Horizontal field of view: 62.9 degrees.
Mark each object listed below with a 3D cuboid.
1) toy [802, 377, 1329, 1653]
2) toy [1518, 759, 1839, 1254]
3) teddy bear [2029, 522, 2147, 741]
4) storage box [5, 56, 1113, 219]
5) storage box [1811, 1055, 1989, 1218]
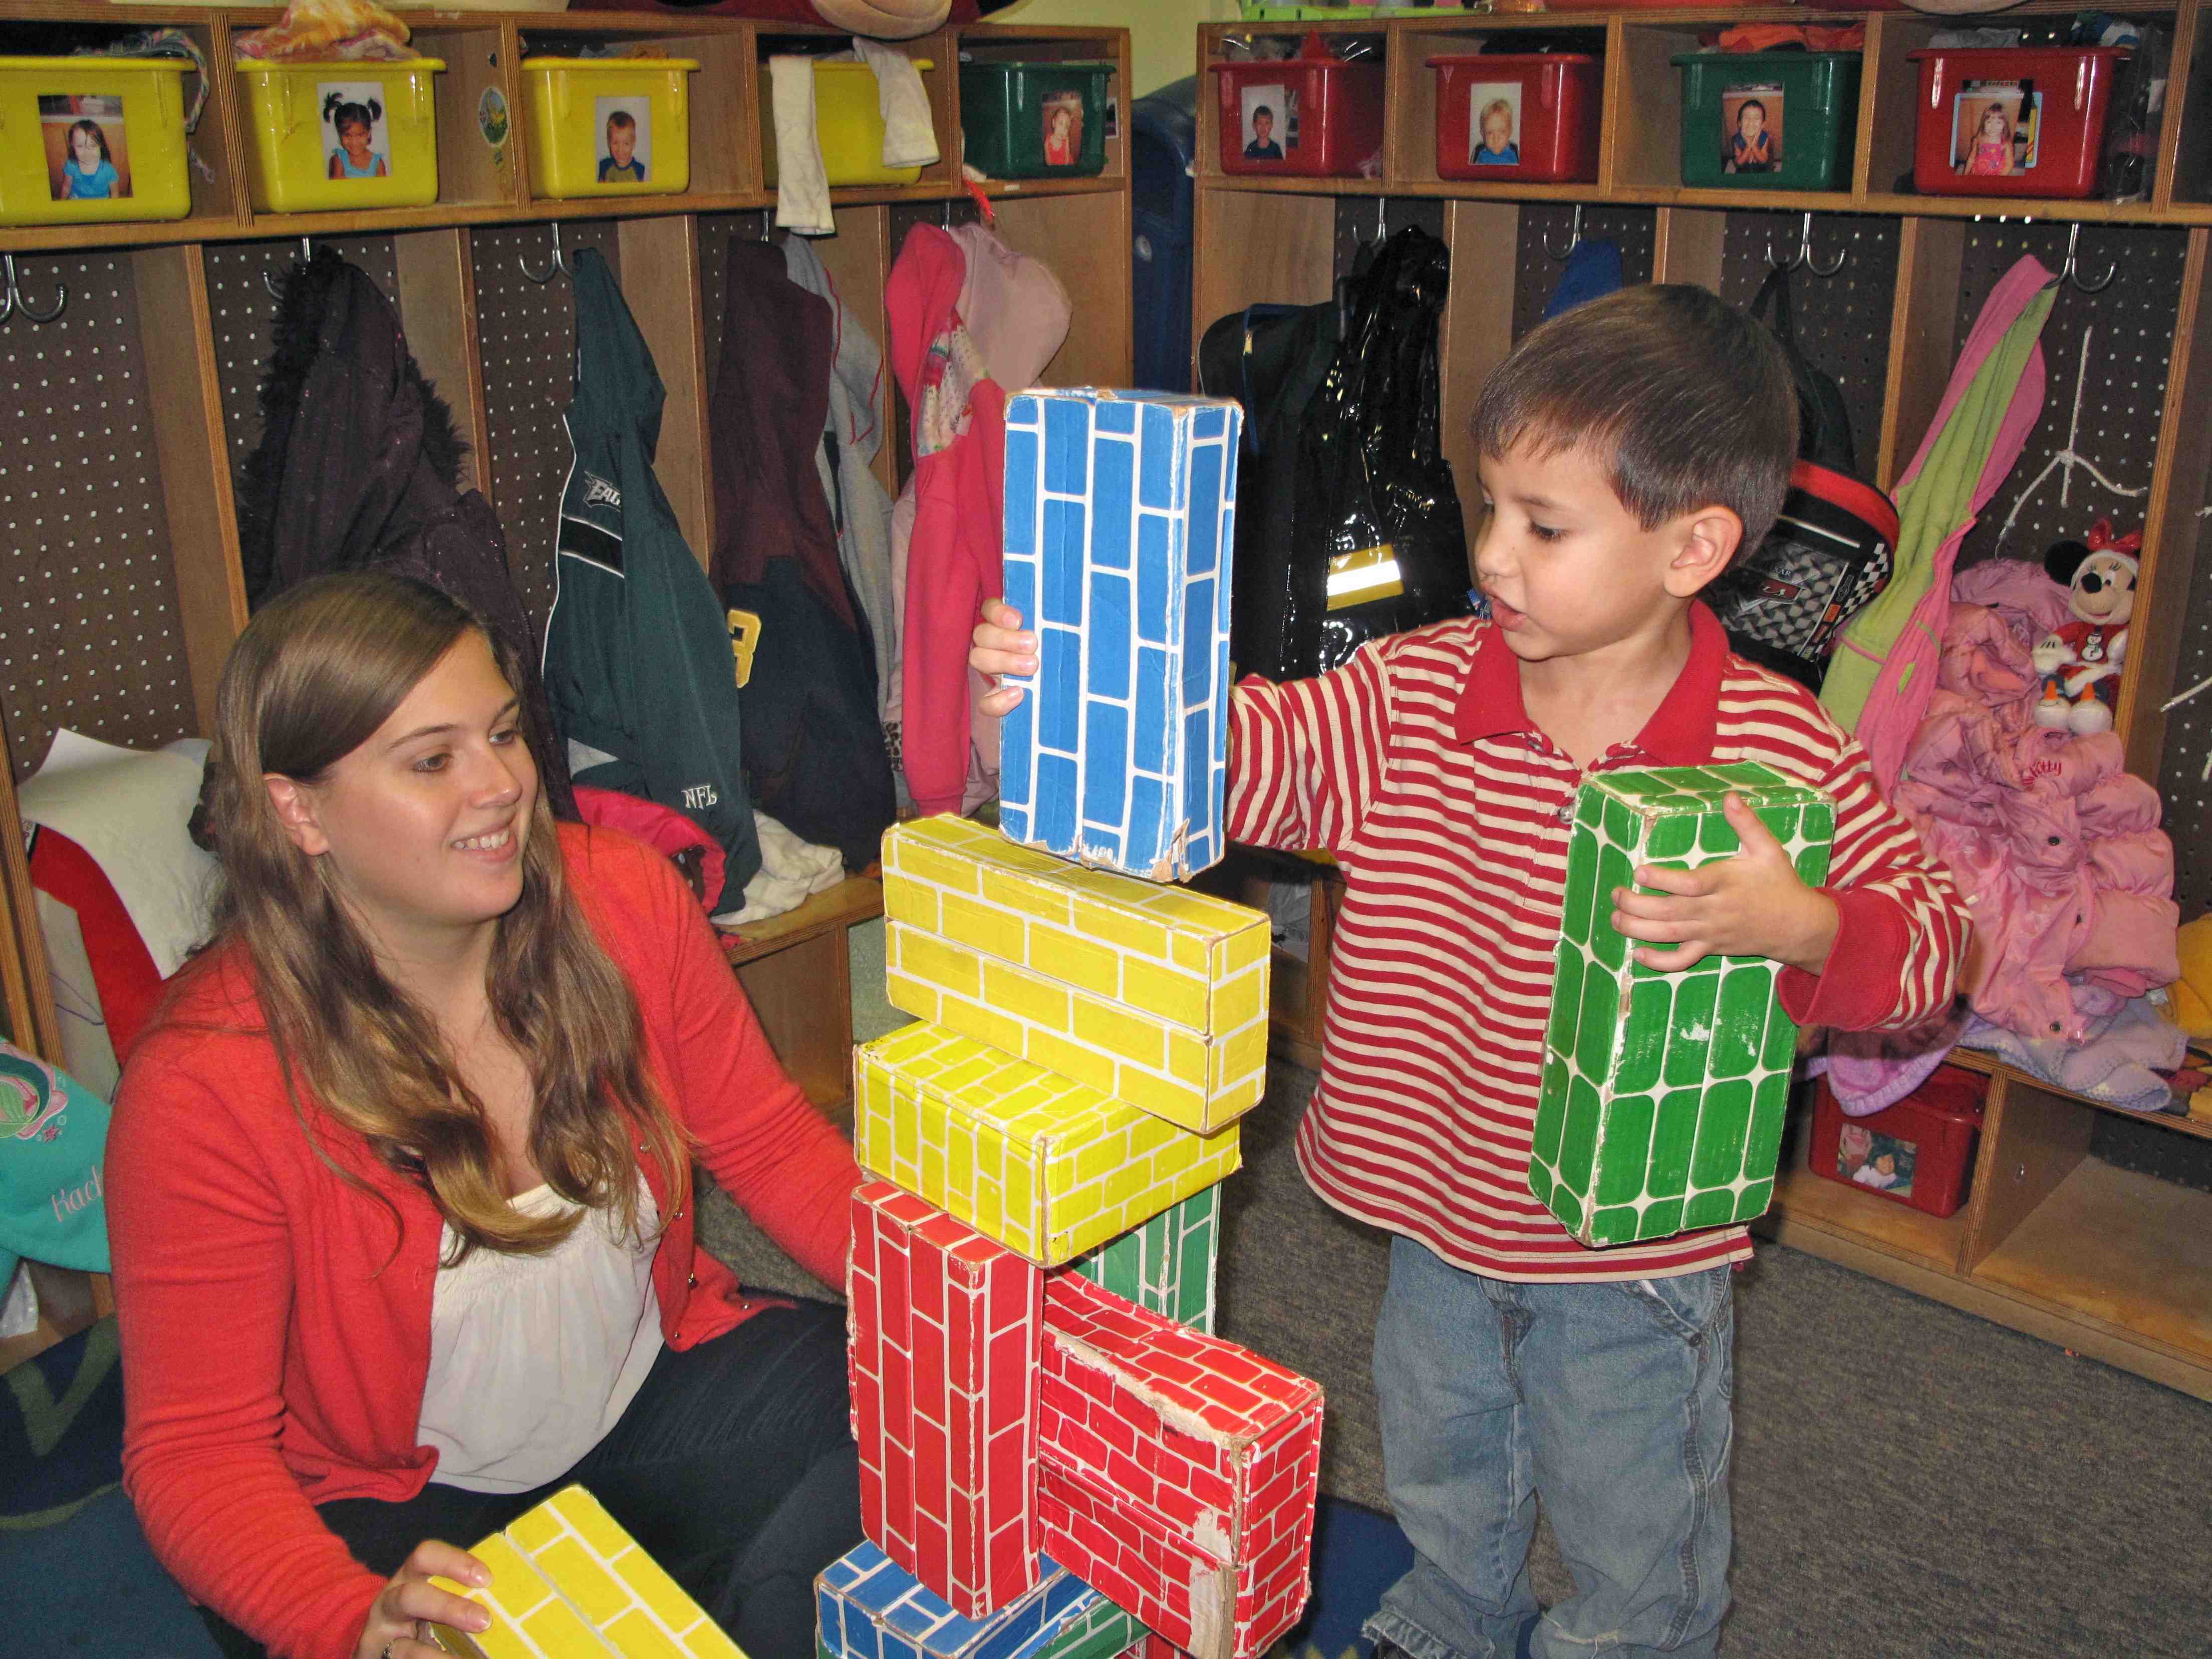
[{"bbox_3d":[-0.022,0.168,1.513,0.411,1.026,0.469,2,18,7],"label":"toy"},{"bbox_3d":[0.491,0.146,1.627,0.232,0.409,0.168,-7,19,-19],"label":"toy"},{"bbox_3d":[1.636,-0.342,3.057,0.132,0.318,0.274,8,20,23],"label":"teddy bear"},{"bbox_3d":[-0.939,-1.172,3.052,1.719,0.278,0.183,-18,25,-42],"label":"storage box"},{"bbox_3d":[1.383,0.533,3.227,0.269,0.263,0.272,15,22,36],"label":"storage box"}]
